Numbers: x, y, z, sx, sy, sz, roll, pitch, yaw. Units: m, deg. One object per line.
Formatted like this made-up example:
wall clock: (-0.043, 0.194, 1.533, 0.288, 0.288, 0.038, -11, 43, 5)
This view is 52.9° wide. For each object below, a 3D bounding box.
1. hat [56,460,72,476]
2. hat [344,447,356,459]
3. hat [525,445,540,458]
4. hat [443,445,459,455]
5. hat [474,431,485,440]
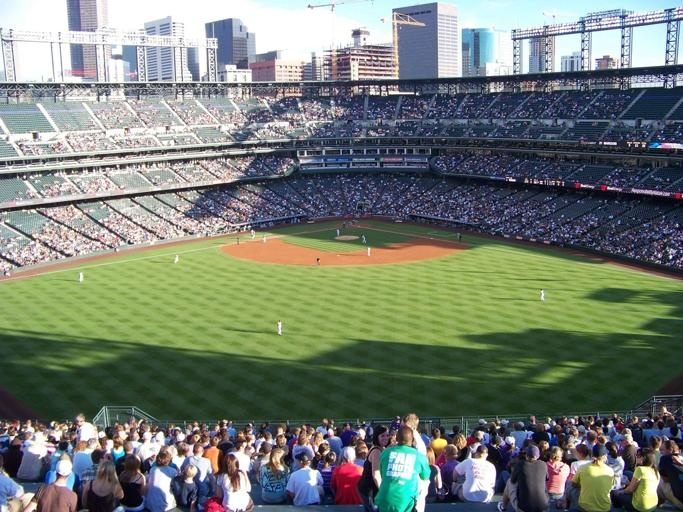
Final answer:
hat: (-7.016, 5.333, 17.273, 0.348, 0.288, 0.293, 2, -1, -21)
hat: (0.200, 5.593, 19.376, 0.313, 0.376, 0.425, 1, -1, -1)
hat: (4.999, 5.118, 17.980, 0.271, 0.309, 0.338, 1, -1, 31)
hat: (3.230, 5.685, 20.272, 0.347, 0.290, 0.368, 3, 20, 9)
hat: (4.612, 6.001, 22.969, 0.287, 0.290, 0.241, -9, 37, 6)
